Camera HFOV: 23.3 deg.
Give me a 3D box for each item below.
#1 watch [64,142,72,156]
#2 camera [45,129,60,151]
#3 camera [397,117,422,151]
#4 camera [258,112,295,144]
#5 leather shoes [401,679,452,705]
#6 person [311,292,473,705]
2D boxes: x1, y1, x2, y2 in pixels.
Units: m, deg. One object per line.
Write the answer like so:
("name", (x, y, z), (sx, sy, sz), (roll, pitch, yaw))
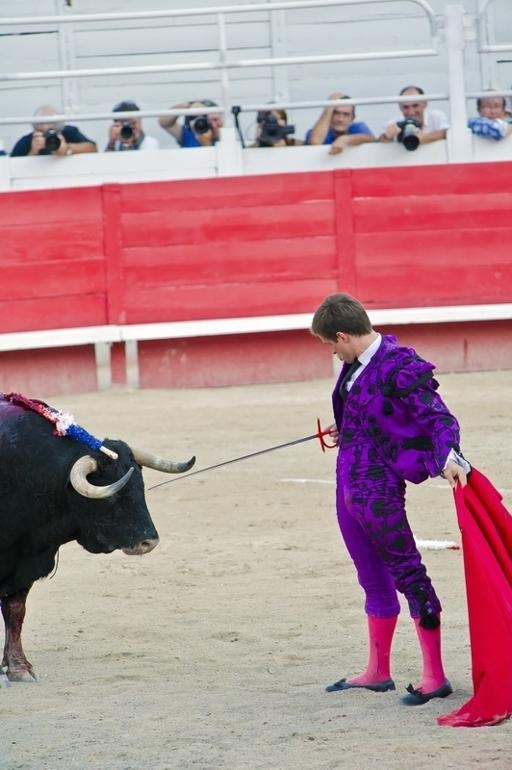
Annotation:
("watch", (-1.047, -1.330, 7.038), (0.040, 0.057, 0.056), (-7, 33, -31))
("camera", (-1.101, -1.340, 6.853), (0.116, 0.092, 0.113), (-3, 13, -4))
("camera", (0.875, -1.433, 7.087), (0.152, 0.081, 0.169), (-3, 39, 5))
("camera", (0.107, -1.445, 7.016), (0.152, 0.110, 0.249), (0, 5, 2))
("leather shoes", (0.404, 0.740, 3.003), (0.126, 0.042, 0.048), (-15, 7, -1))
("person", (0.324, 0.277, 3.022), (0.463, 1.000, 0.253), (6, 17, 41))
